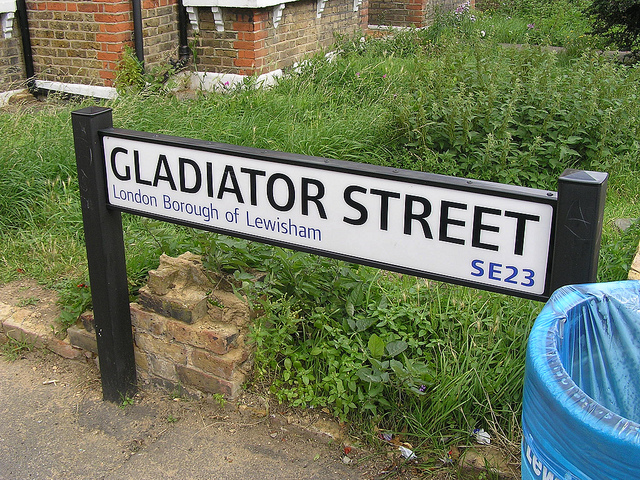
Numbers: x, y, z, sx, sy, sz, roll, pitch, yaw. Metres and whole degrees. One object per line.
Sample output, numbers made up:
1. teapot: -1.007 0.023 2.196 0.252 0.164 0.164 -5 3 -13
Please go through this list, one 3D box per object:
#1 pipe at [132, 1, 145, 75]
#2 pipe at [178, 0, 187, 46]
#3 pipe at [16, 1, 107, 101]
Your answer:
1. pipe: -2.393 -2.687 6.889 0.134 0.897 0.204 -7 24 -18
2. pipe: -1.957 -3.124 7.451 0.125 0.604 0.101 -12 26 -28
3. pipe: -3.878 -2.645 7.246 0.745 1.273 0.192 12 25 25
